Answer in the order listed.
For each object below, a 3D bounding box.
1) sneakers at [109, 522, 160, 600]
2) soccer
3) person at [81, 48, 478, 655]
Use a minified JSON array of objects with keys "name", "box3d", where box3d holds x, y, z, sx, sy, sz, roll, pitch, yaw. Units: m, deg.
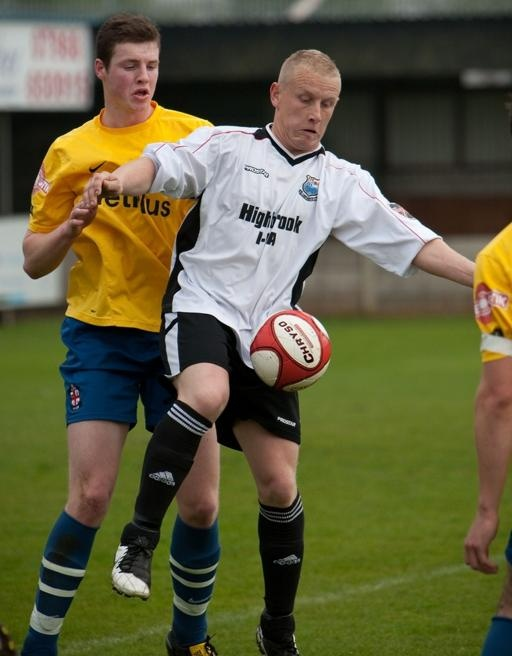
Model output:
[{"name":"sneakers","box3d":[-0.349,0.660,2.782,0.090,0.108,0.260,15,14,-13]},{"name":"soccer","box3d":[0.121,0.079,3.124,0.310,0.274,0.167,-10,10,-44]},{"name":"person","box3d":[0.104,0.158,3.147,1.092,1.905,0.607,-5,7,-12]}]
